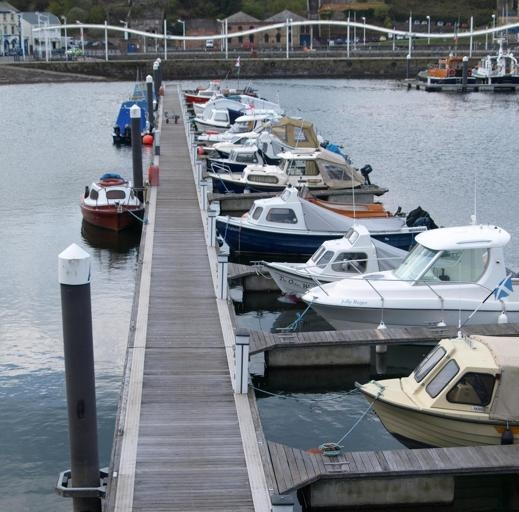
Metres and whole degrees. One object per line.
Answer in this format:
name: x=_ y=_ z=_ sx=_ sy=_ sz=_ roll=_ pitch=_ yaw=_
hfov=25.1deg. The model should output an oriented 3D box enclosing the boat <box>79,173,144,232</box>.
boat: x=-4.361 y=-1.562 z=34.951 sx=1.647 sy=1.482 sz=1.917 roll=-10 pitch=18 yaw=-30
